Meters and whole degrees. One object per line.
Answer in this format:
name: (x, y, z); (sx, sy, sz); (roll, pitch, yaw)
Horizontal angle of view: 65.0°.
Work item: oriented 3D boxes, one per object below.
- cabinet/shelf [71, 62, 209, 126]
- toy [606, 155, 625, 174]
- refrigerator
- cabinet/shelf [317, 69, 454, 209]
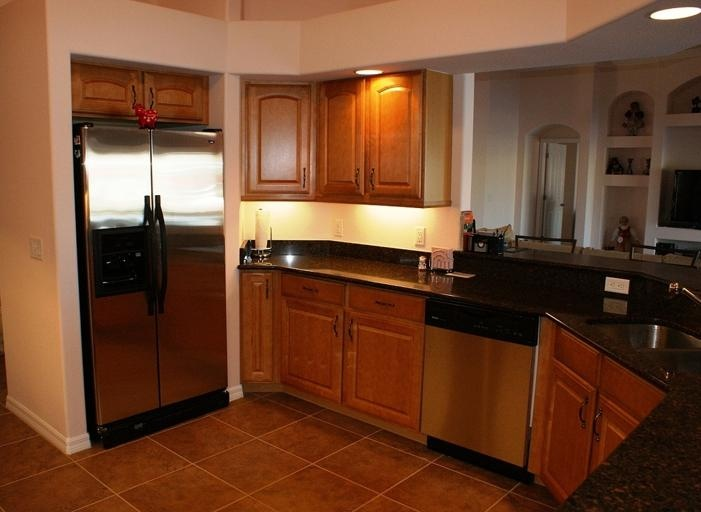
cabinet/shelf: (-1.643, -1.254, 4.238); (1.019, 0.352, 0.289); (-4, 21, -34)
toy: (4.514, -1.548, 9.332); (0.268, 0.275, 0.213); (5, 16, 24)
refrigerator: (-1.448, 0.178, 4.063); (1.193, 2.255, 0.332); (-14, 19, -40)
cabinet/shelf: (0.315, -0.932, 4.268); (1.052, 0.908, 0.442); (4, 5, 35)
